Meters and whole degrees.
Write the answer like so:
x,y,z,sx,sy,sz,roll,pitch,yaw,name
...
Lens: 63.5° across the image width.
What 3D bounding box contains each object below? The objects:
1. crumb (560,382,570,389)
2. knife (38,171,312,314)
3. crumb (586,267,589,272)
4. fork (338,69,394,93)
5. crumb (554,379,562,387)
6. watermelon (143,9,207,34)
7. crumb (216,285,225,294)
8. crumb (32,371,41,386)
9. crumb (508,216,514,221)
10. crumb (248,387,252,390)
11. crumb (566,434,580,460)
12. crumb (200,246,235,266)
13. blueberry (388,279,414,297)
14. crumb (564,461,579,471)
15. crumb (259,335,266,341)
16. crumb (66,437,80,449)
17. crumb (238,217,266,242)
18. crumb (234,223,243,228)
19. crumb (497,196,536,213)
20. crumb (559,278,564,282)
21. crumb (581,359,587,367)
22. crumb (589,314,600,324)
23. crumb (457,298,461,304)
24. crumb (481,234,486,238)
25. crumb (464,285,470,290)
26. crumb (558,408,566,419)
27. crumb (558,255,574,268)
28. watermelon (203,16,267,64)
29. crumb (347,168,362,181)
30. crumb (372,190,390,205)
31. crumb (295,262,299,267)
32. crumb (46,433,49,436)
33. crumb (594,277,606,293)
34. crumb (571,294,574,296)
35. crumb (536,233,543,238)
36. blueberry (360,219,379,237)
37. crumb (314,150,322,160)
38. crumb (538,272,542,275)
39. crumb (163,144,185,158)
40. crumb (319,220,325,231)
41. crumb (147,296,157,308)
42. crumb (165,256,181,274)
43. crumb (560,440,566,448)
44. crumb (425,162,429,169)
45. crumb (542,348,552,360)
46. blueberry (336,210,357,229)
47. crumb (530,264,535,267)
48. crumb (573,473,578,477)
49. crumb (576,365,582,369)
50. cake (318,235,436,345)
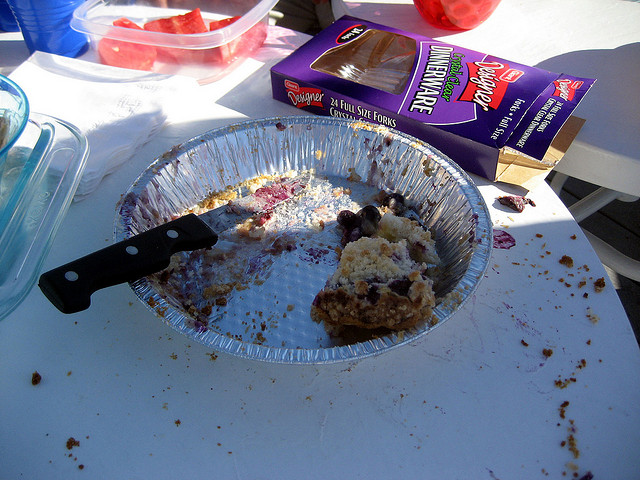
x,y,z,sx,sy,sz,roll,pitch,yaw,name
0.530,0.315,1.119,0.025,0.007,0.007,-27,47,-16,crumb
-0.305,-0.024,1.270,0.732,0.062,0.124,-27,68,-42,knife
0.657,0.071,1.268,0.006,0.001,0.007,9,70,25,crumb
0.133,-0.468,1.517,0.182,0.021,0.028,28,72,11,fork
0.518,0.311,1.121,0.016,0.005,0.015,4,62,-3,crumb
-0.462,-0.711,1.712,0.215,0.099,0.199,17,27,34,watermelon
-0.240,0.119,1.238,0.012,0.005,0.017,2,51,-4,crumb
-0.620,0.300,1.126,0.017,0.007,0.028,-4,63,-7,crumb
0.507,-0.058,1.359,0.006,0.003,0.011,-8,65,-22,crumb
-0.152,0.323,1.123,0.004,0.001,0.005,1,49,-3,crumb
0.520,0.423,1.058,0.021,0.010,0.034,-19,70,-22,crumb
-0.266,0.040,1.302,0.064,0.020,0.049,26,59,13,crumb
0.178,0.098,1.137,0.046,0.017,0.039,26,63,9,blueberry
0.511,0.458,1.041,0.020,0.006,0.013,0,43,39,crumb
-0.131,0.223,1.174,0.010,0.003,0.008,6,51,5,crumb
-0.511,0.418,1.062,0.018,0.008,0.020,13,52,-13,crumb
-0.185,-0.022,1.356,0.051,0.021,0.070,31,64,16,crumb
-0.216,-0.040,1.362,0.011,0.003,0.010,-27,52,-19,crumb
0.532,-0.101,1.378,0.060,0.016,0.054,8,48,12,crumb
0.588,0.096,1.254,0.012,0.002,0.011,-3,62,-7,crumb
0.584,0.271,1.142,0.010,0.003,0.016,7,62,-1,crumb
0.635,0.181,1.191,0.021,0.006,0.023,-7,63,-9,crumb
0.299,0.129,1.106,0.006,0.003,0.009,-3,56,22,crumb
0.378,-0.011,1.193,0.007,0.003,0.005,-19,59,1,crumb
0.319,0.102,1.122,0.011,0.003,0.011,6,62,-2,crumb
0.513,0.366,1.091,0.010,0.005,0.017,11,30,14,crumb
0.610,0.051,1.276,0.025,0.015,0.029,-37,48,-7,crumb
-0.282,-0.664,1.747,0.193,0.067,0.152,-41,53,-13,watermelon
0.094,-0.186,1.439,0.031,0.008,0.035,8,102,14,crumb
0.163,-0.119,1.406,0.039,0.010,0.033,-30,70,-15,crumb
-0.058,0.060,1.282,0.006,0.002,0.009,6,69,-2,crumb
-0.568,0.405,1.074,0.005,0.001,0.005,-1,62,-6,crumb
0.670,0.107,1.236,0.027,0.008,0.028,-29,51,-10,crumb
0.603,0.130,1.231,0.007,0.001,0.004,-6,63,-8,crumb
0.565,-0.013,1.329,0.019,0.006,0.016,1,68,5,crumb
0.117,-0.030,1.291,0.037,0.017,0.043,-3,87,13,blueberry
-0.005,-0.242,1.455,0.017,0.005,0.019,7,95,26,crumb
0.540,0.081,1.267,0.004,0.001,0.004,-2,74,18,crumb
-0.384,-0.232,1.350,0.045,0.013,0.030,-31,74,-17,crumb
0.006,-0.038,1.363,0.013,0.005,0.019,-3,70,-30,crumb
-0.356,0.130,1.093,0.017,0.004,0.019,20,57,2,crumb
-0.361,0.059,1.246,0.026,0.012,0.038,7,56,7,crumb
0.502,0.420,1.064,0.007,0.002,0.010,10,69,15,crumb
0.280,-0.197,1.346,0.011,0.005,0.016,1,86,43,crumb
0.510,0.252,1.153,0.023,0.006,0.024,-8,63,-9,crumb
0.064,-0.057,1.328,0.034,0.043,0.046,1,36,8,blueberry
0.527,0.062,1.280,0.008,0.002,0.007,10,62,0,crumb
0.514,0.472,1.037,0.008,0.002,0.007,3,62,-3,crumb
0.572,0.279,1.138,0.012,0.003,0.009,11,62,1,crumb
0.116,0.098,1.176,0.248,0.128,0.235,-3,62,-7,cake
